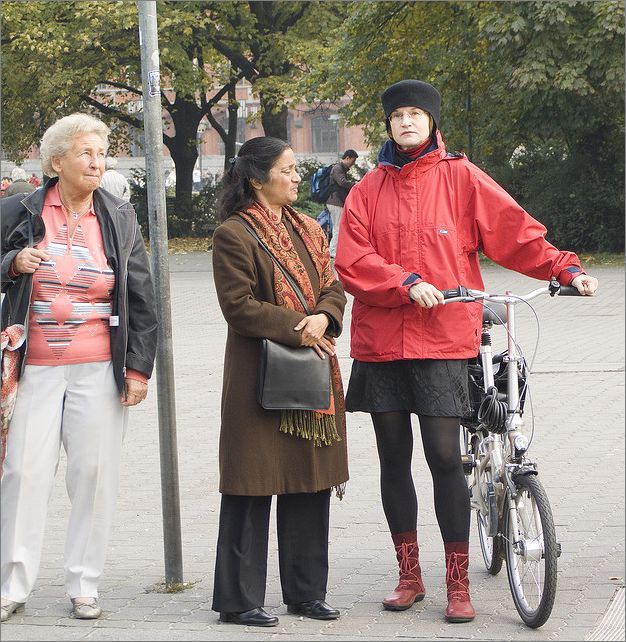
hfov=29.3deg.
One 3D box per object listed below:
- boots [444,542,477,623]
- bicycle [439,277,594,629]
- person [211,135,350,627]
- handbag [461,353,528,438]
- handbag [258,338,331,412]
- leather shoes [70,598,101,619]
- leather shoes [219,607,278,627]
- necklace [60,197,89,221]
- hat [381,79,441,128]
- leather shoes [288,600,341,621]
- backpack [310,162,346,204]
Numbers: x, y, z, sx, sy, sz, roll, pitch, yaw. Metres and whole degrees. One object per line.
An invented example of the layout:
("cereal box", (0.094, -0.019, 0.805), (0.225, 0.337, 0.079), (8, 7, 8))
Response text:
("boots", (0.655, 1.144, 5.278), (0.133, 0.300, 0.255), (-2, 9, 6))
("bicycle", (0.893, 0.535, 5.468), (0.453, 1.457, 1.238), (-2, 9, 9))
("person", (-0.155, 0.248, 5.368), (0.618, 2.135, 0.677), (-2, 9, 8))
("handbag", (0.818, 0.303, 5.671), (0.218, 0.254, 0.434), (-5, -3, -8))
("handbag", (-0.093, 0.240, 5.190), (0.316, 0.278, 0.116), (4, -10, -23))
("leather shoes", (-1.019, 1.271, 5.340), (0.130, 0.083, 0.161), (-4, 9, -11))
("leather shoes", (-0.275, 1.286, 5.279), (0.260, 0.085, 0.090), (0, 2, 8))
("necklace", (-1.069, -0.509, 5.352), (0.104, 0.123, 0.096), (1, 34, -9))
("hat", (0.463, -0.991, 5.512), (0.205, 0.175, 0.246), (1, 0, 18))
("leather shoes", (0.007, 1.278, 5.358), (0.229, 0.078, 0.083), (-2, 1, 29))
("backpack", (0.192, -1.918, 16.865), (0.549, 0.528, 0.393), (-1, -1, 10))
